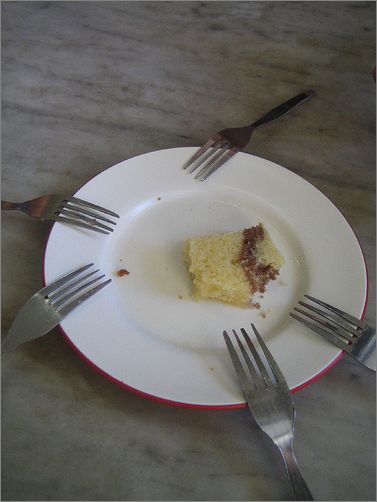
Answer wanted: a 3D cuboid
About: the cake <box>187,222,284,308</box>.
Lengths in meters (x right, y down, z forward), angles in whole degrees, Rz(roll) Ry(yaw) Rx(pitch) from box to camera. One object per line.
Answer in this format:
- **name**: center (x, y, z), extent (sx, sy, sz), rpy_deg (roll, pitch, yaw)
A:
- **cake**: center (0.137, 0.042, 1.661), extent (0.303, 0.066, 0.223), rpy_deg (-4, 53, -5)
